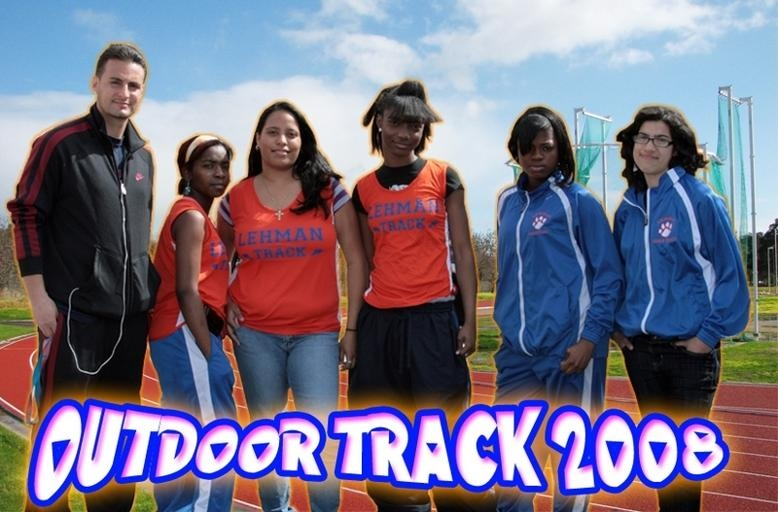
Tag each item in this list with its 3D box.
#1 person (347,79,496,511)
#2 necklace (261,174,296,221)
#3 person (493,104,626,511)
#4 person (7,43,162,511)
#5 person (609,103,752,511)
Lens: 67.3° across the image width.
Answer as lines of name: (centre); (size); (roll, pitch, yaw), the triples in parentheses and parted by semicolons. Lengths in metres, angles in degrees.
person: (0.185, -0.057, 4.944); (1.046, 2.815, 0.510); (-2, 6, 11)
necklace: (-0.940, -0.478, 5.011); (0.280, 0.386, 0.113); (-1, -11, 4)
person: (1.378, 0.050, 4.899); (1.035, 2.580, 0.402); (0, 7, 22)
person: (-2.407, -0.203, 4.668); (1.094, 2.958, 0.469); (-6, 7, -23)
person: (2.377, 0.048, 4.827); (0.980, 2.579, 0.535); (0, 7, 21)
